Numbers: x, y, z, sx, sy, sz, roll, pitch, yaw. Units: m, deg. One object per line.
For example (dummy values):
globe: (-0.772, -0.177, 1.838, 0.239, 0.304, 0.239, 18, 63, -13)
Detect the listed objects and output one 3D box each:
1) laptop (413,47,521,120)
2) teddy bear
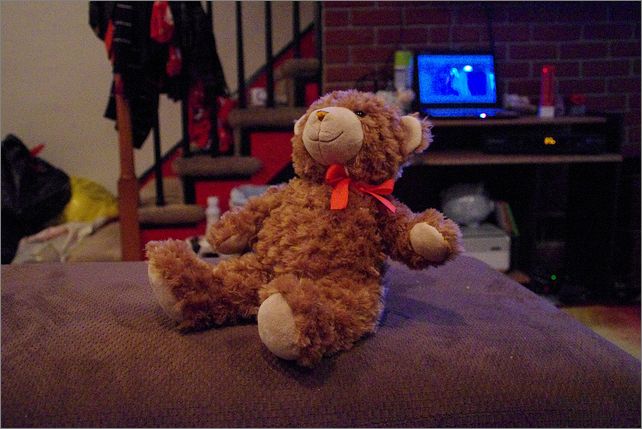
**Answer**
laptop: (0.628, -0.621, 2.818, 0.418, 0.340, 0.272, -1, 13, -4)
teddy bear: (-0.005, 0.041, 1.826, 0.881, 0.773, 0.743, 15, 10, 34)
